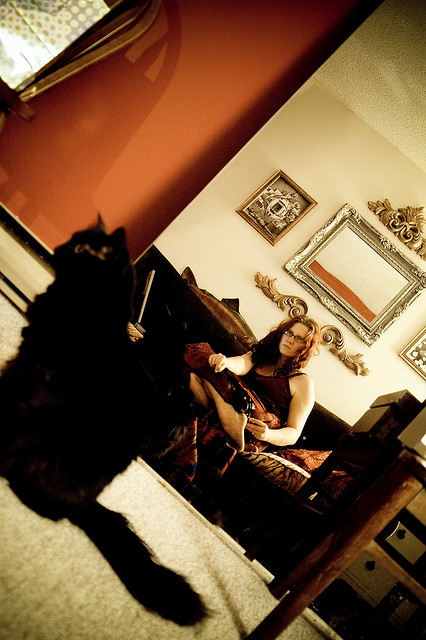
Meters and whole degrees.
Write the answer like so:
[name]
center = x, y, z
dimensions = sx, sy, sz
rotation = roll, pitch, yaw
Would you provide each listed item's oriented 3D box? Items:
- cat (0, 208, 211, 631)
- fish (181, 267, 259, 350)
[cat]
center = -0.535, 0.345, 2.871
dimensions = 0.680, 2.090, 1.059
rotation = 11, -23, -42
[fish]
center = 0.059, -0.049, 2.670
dimensions = 0.485, 0.171, 0.042
rotation = 37, 3, 6
